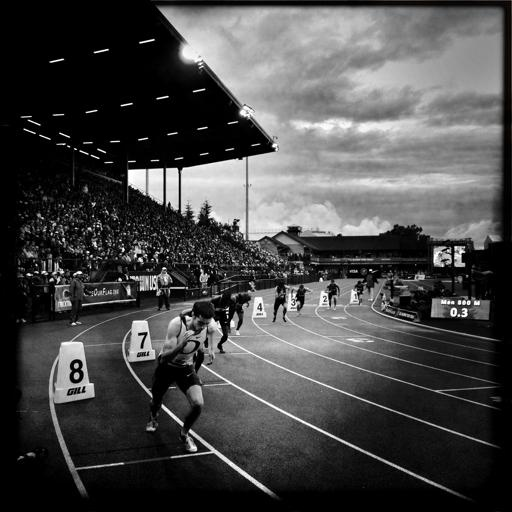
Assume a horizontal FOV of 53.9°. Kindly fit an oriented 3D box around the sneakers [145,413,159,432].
[{"bbox_3d":[-1.672,2.700,8.155,0.107,0.187,0.379,3,0,-1],"label":"sneakers"}]

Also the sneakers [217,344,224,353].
[{"bbox_3d":[-1.031,2.688,14.754,0.115,0.329,0.400,0,-1,13],"label":"sneakers"}]

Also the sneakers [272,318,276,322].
[{"bbox_3d":[0.838,2.997,23.594,0.195,0.259,0.119,1,-3,27],"label":"sneakers"}]

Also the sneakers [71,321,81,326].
[{"bbox_3d":[-7.121,2.663,19.897,0.318,0.179,0.113,-8,-6,38],"label":"sneakers"}]
